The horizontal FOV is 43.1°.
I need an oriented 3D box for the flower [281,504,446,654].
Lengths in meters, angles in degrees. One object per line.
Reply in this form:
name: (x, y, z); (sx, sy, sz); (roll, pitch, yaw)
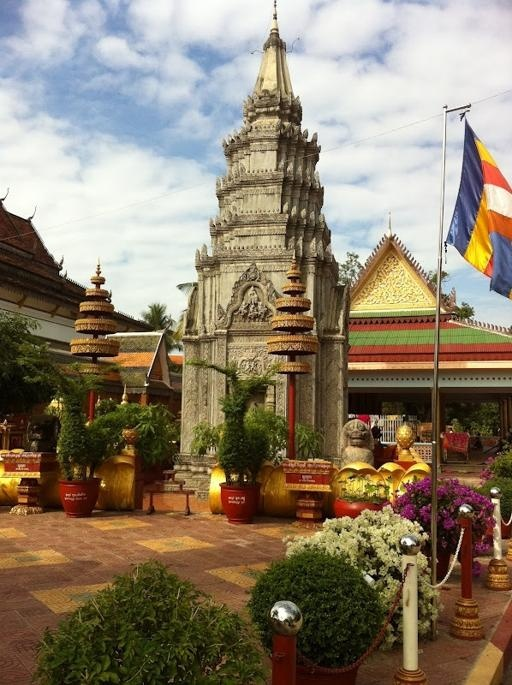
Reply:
flower: (0.844, 1.564, 4.762); (1.286, 1.353, 1.036); (2, -10, -4)

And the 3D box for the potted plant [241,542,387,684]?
potted plant: (0.285, 1.556, 3.750); (0.811, 0.645, 0.669); (-8, -22, -3)

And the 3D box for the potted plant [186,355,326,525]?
potted plant: (-0.301, 1.618, 10.569); (1.613, 1.999, 1.671); (-7, -15, 23)
